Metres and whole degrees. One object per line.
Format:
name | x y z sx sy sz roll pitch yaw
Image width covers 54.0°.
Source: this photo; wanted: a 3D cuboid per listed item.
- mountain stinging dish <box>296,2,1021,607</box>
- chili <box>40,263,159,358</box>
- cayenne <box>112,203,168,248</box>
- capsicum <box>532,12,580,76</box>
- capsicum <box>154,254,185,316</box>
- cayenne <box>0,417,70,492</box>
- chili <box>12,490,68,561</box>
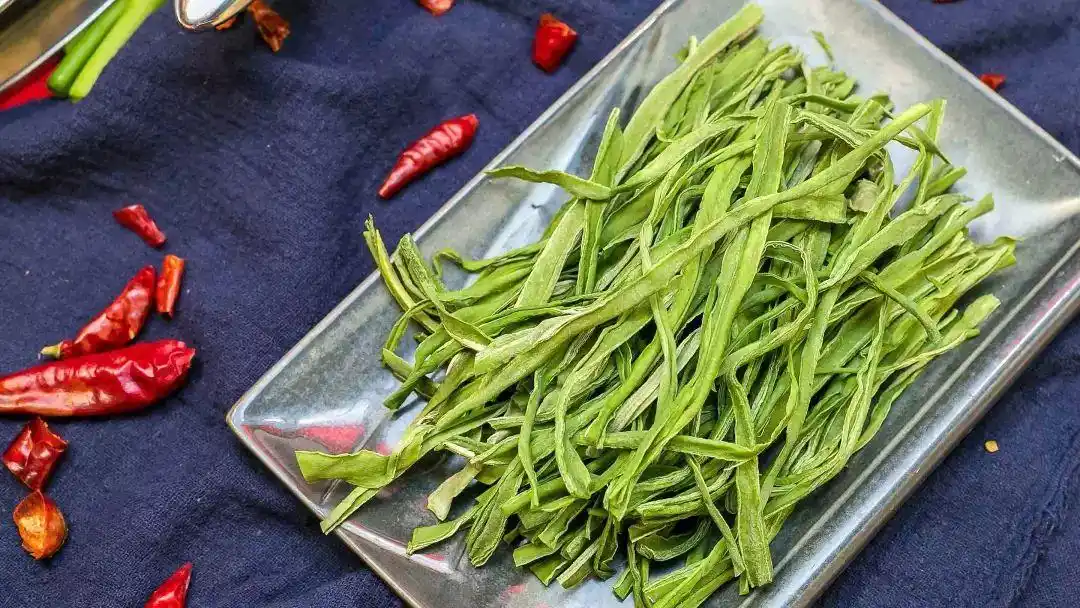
mountain stinging dish | 0.257 0.033 1.864 0.868 1.120 0.198 38 -3 9
chili | -0.772 0.030 1.977 0.099 0.255 0.091 48 -11 32
cayenne | -0.737 -0.149 1.970 0.103 0.064 0.026 32 -9 -4
capsicum | 0.034 -0.500 2.034 0.088 0.097 0.085 31 -7 -20
capsicum | -0.676 -0.037 1.953 0.055 0.106 0.035 11 -11 -6
cayenne | -0.897 0.264 1.883 0.088 0.104 0.076 29 17 -14
chili | -0.874 0.382 1.842 0.098 0.114 0.039 -3 -9 -13
